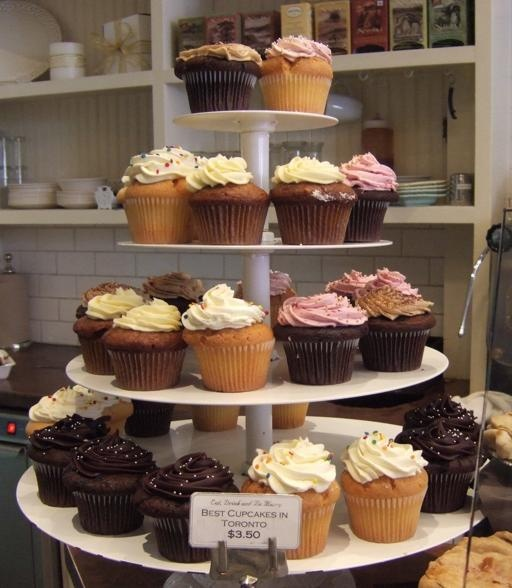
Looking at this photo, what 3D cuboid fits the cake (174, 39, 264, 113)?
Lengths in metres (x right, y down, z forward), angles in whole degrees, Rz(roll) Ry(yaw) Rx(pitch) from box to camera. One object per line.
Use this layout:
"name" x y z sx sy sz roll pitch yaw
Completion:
"cake" -0.076 -0.429 1.113 0.179 0.139 0.126 -2 12 1

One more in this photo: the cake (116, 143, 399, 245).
"cake" -0.038 -0.182 1.071 0.414 0.119 0.215 1 1 4

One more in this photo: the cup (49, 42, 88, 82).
"cup" -0.789 -0.987 2.435 0.205 0.156 0.176 -2 10 -13

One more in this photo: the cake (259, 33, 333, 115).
"cake" 0.081 -0.438 1.127 0.142 0.143 0.094 -2 12 2
